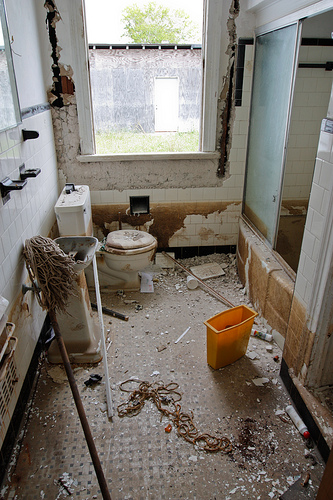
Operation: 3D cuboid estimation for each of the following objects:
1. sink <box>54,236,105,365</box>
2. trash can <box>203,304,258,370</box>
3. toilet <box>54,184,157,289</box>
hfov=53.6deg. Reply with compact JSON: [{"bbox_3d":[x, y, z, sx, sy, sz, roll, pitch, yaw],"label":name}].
[{"bbox_3d":[-0.511,0.297,1.893,0.247,0.758,0.795,-4,15,-15],"label":"sink"},{"bbox_3d":[0.385,0.528,1.939,0.241,0.246,0.112,-23,34,-37],"label":"trash can"},{"bbox_3d":[-0.445,-0.049,2.693,0.699,0.841,0.533,0,25,0],"label":"toilet"}]
